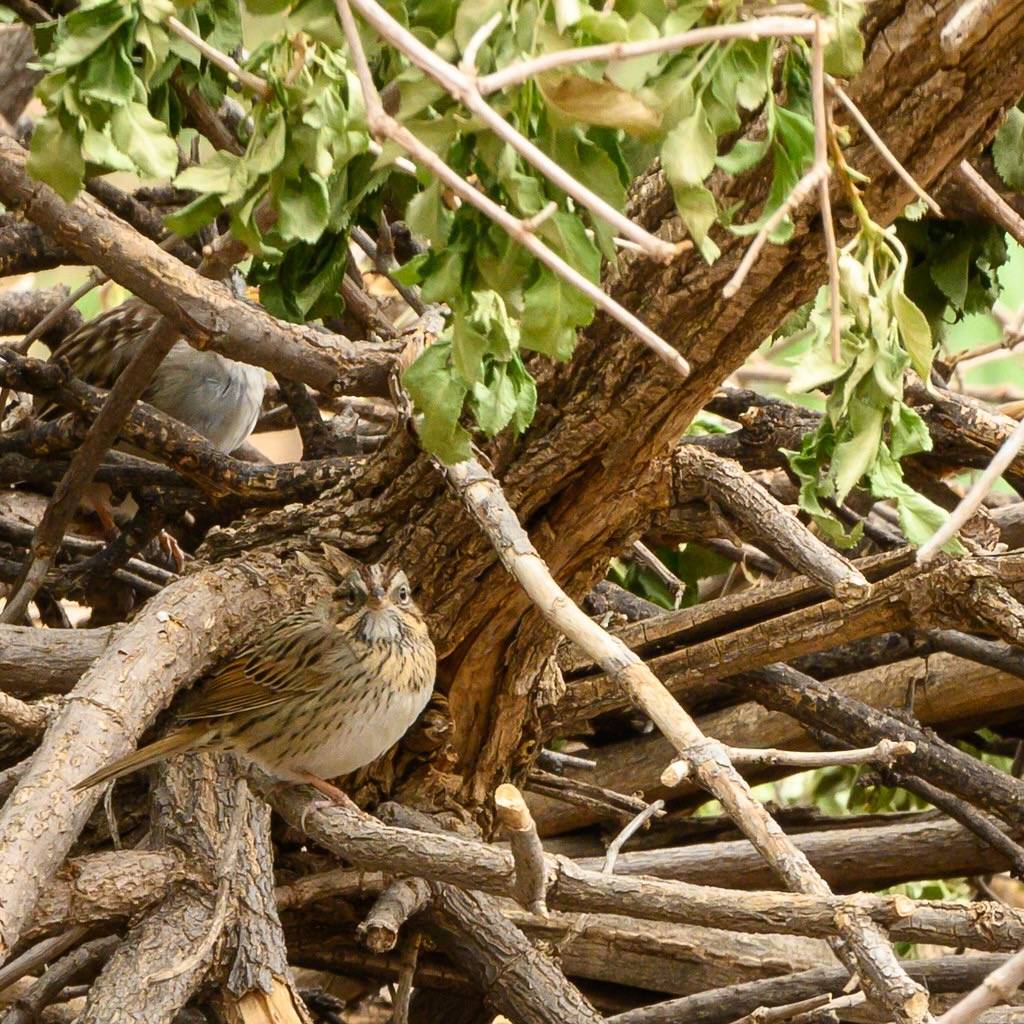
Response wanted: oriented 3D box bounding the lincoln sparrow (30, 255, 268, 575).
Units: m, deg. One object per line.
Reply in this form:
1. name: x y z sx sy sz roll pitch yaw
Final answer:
1. lincoln sparrow: -1.414 -0.387 5.191 0.800 1.247 0.621 20 10 -12
